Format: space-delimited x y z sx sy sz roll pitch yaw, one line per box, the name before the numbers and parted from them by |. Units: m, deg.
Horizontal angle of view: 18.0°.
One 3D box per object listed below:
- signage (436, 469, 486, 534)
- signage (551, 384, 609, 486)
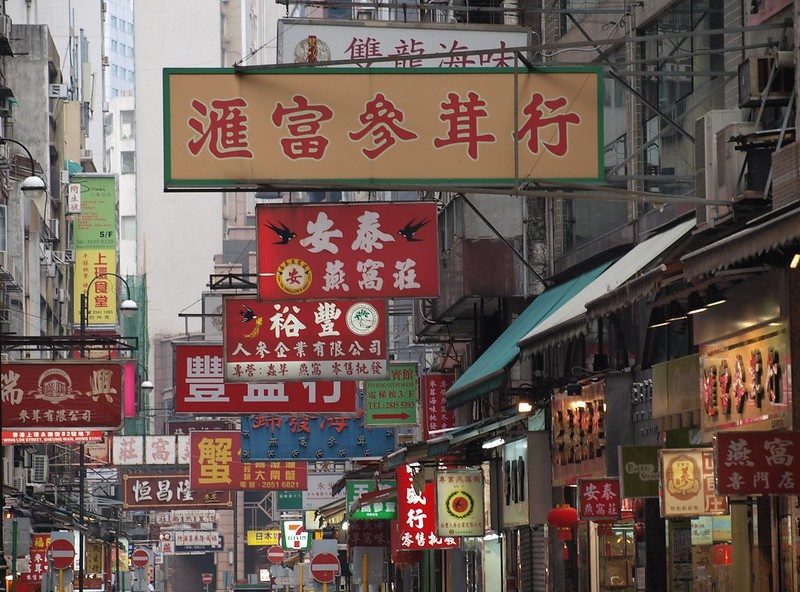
signage | 1.550 5.051 63.801 1.500 2.137 0.228 0 -2 -1
signage | 4.360 3.188 59.962 0.370 2.251 3.098 1 -8 -22
